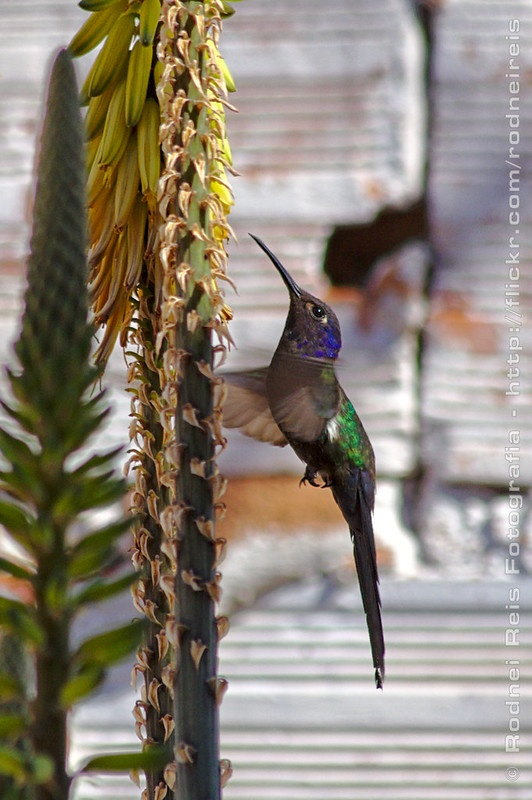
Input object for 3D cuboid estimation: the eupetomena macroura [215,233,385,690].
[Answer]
[{"bbox_3d":[0.039,0.079,2.477,0.174,0.538,0.327,-3,-11,2],"label":"eupetomena macroura"}]
